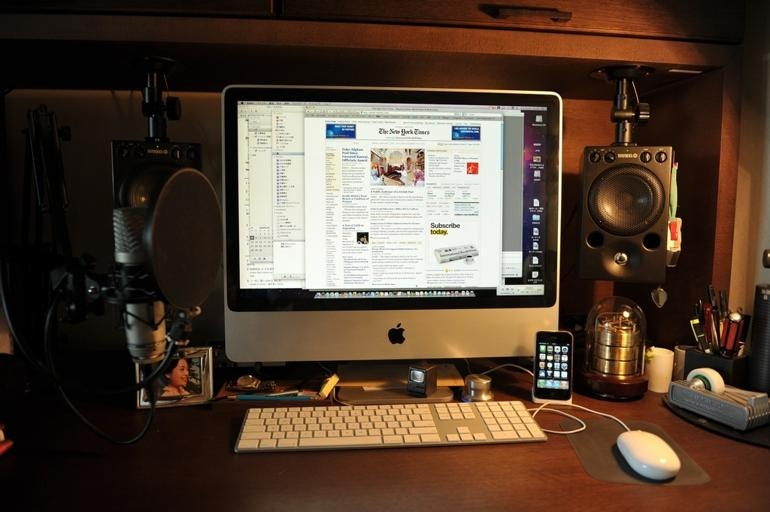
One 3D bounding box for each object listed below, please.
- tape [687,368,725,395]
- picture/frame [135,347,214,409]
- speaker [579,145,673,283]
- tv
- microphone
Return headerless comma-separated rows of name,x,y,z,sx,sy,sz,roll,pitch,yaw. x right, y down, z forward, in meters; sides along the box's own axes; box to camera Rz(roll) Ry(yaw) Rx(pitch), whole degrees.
tape,0.711,0.280,1.459,0.024,0.038,0.038,-10,20,-17
picture/frame,-0.480,0.281,1.510,0.176,0.147,0.089,3,-18,-21
speaker,0.581,-0.090,1.610,0.224,0.329,0.213,1,-12,30
tv,0.015,-0.043,1.492,0.749,0.602,0.171,0,1,-5
microphone,-0.512,0.097,1.374,0.083,0.396,0.179,-11,14,-43
